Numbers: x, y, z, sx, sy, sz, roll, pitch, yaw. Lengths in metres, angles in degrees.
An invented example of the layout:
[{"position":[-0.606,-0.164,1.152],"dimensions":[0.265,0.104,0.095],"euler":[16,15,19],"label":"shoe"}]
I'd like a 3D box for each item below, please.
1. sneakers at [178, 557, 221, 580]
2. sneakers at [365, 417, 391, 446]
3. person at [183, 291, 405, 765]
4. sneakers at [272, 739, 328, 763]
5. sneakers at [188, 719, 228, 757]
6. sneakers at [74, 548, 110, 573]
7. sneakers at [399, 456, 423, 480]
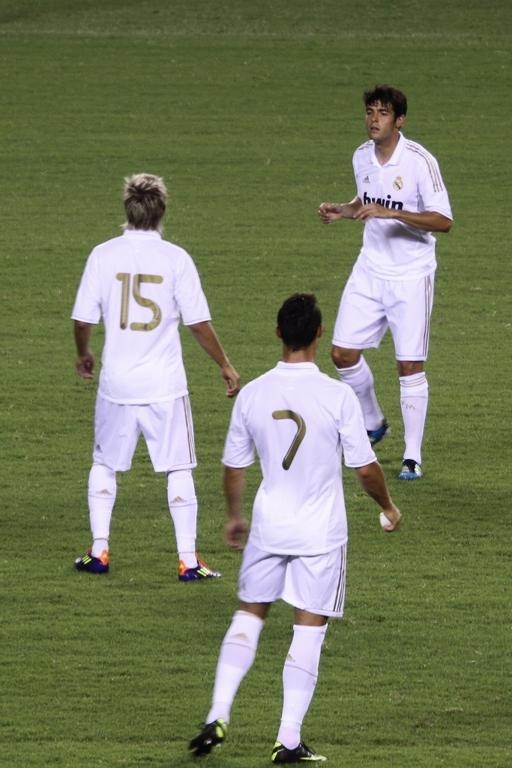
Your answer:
[{"position":[-0.311,0.966,10.196],"dimensions":[0.250,0.126,0.087],"euler":[-2,10,-19],"label":"sneakers"},{"position":[0.708,0.304,11.619],"dimensions":[0.095,0.141,0.294],"euler":[-2,15,26],"label":"sneakers"},{"position":[0.206,0.669,8.740],"dimensions":[0.802,1.986,0.705],"euler":[8,13,2],"label":"person"},{"position":[0.171,1.633,8.697],"dimensions":[0.266,0.120,0.093],"euler":[0,5,-17],"label":"sneakers"},{"position":[-0.202,1.579,8.617],"dimensions":[0.172,0.115,0.167],"euler":[-17,20,-4],"label":"sneakers"},{"position":[-0.847,0.928,10.229],"dimensions":[0.186,0.103,0.083],"euler":[8,8,40],"label":"sneakers"},{"position":[0.872,0.497,11.266],"dimensions":[0.114,0.150,0.317],"euler":[-1,-2,8],"label":"sneakers"}]
